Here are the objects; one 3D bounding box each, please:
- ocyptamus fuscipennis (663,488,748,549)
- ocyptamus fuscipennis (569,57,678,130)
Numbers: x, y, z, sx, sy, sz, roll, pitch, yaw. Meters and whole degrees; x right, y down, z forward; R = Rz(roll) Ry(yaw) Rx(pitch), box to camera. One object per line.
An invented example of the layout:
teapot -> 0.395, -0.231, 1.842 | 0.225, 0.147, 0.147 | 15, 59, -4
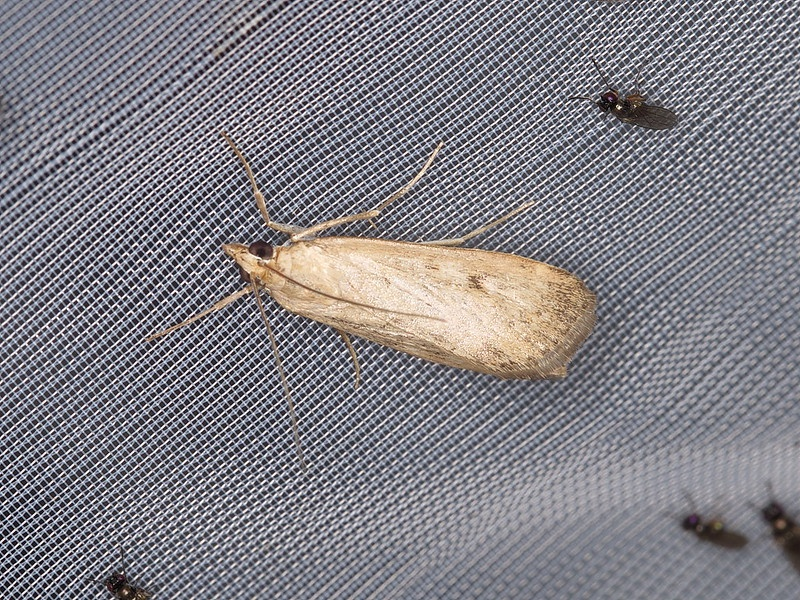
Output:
ocyptamus fuscipennis -> 1.332, 0.949, 4.771 | 0.325, 0.214, 0.165 | 2, 107, 10
ocyptamus fuscipennis -> 1.033, -0.917, 4.995 | 0.473, 0.141, 0.236 | 23, 75, 15
